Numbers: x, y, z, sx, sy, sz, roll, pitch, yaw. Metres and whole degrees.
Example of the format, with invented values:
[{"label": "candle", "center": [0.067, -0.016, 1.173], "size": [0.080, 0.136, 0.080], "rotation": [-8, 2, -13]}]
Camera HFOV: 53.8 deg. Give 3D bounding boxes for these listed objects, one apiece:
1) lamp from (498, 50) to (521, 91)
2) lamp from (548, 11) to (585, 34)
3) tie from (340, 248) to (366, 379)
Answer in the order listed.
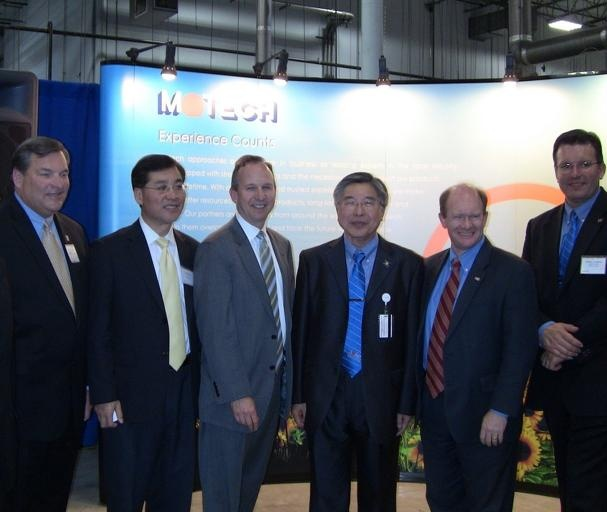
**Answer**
[{"label": "lamp", "center": [1.677, -1.506, 4.859], "size": [0.126, 0.309, 0.441], "rotation": [3, 8, 18]}, {"label": "lamp", "center": [4.797, -4.360, 10.983], "size": [0.459, 0.327, 1.030], "rotation": [7, 10, 36]}, {"label": "tie", "center": [0.281, 0.319, 3.329], "size": [0.114, 0.682, 0.194], "rotation": [2, 8, 8]}]
